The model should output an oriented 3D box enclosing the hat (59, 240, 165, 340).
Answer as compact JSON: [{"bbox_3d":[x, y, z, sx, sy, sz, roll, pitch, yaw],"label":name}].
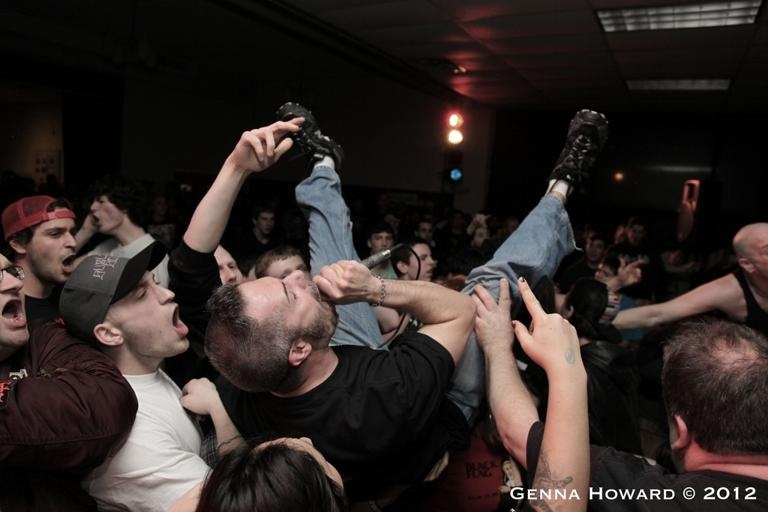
[{"bbox_3d":[-1.267,0.164,2.488,0.339,0.439,0.198,6,10,-22],"label":"hat"}]

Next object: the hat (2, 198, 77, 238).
[{"bbox_3d":[-2.148,-0.243,3.411,0.358,0.174,0.242,-25,11,-13],"label":"hat"}]

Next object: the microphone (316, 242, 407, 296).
[{"bbox_3d":[-0.113,0.073,2.855,0.100,0.091,0.654,31,33,26],"label":"microphone"}]
